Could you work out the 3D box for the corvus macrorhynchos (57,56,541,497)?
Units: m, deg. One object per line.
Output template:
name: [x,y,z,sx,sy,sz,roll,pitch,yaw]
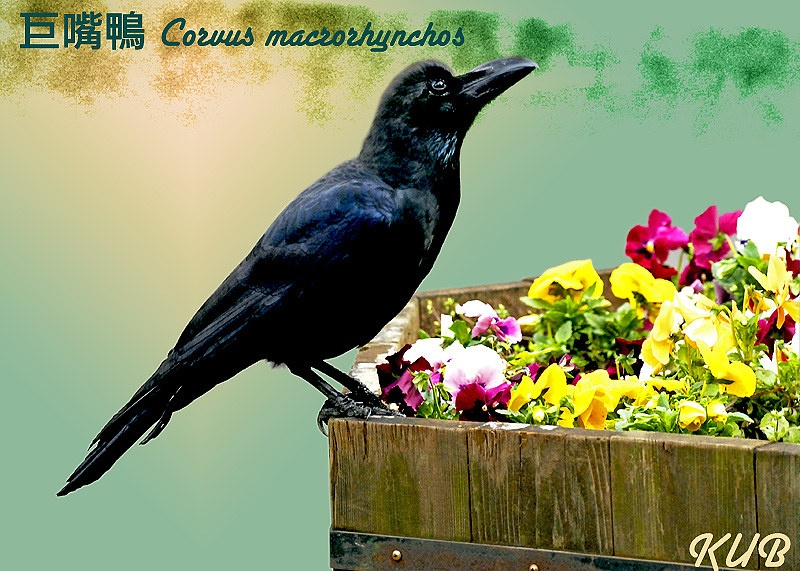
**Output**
corvus macrorhynchos: [-0.346,-0.034,5.478,2.024,1.234,0.700,-10,-5,26]
